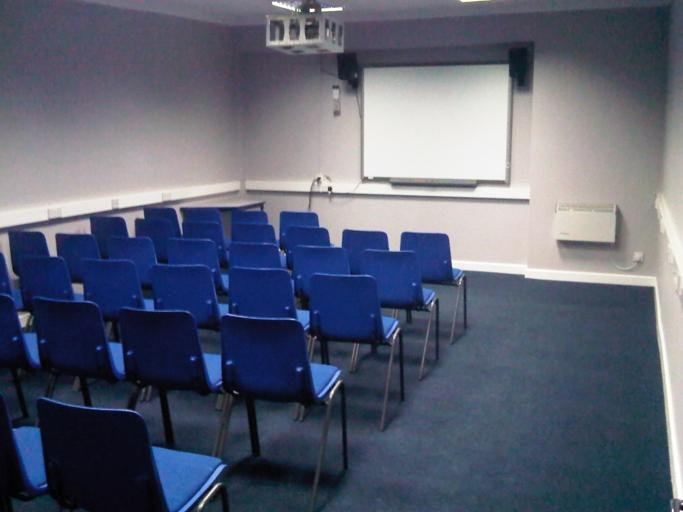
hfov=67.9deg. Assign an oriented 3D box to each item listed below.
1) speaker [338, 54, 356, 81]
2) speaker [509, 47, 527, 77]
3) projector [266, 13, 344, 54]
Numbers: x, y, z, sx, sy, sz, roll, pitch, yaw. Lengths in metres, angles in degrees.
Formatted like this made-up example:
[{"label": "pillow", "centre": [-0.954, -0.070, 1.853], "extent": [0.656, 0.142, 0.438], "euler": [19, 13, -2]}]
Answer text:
[{"label": "speaker", "centre": [0.088, -2.960, 7.886], "extent": [0.310, 0.384, 0.131], "euler": [-1, 12, -2]}, {"label": "speaker", "centre": [2.455, -2.684, 7.029], "extent": [0.291, 0.408, 0.108], "euler": [-4, 13, -16]}, {"label": "projector", "centre": [-0.432, -2.648, 5.968], "extent": [0.833, 0.404, 0.555], "euler": [1, 13, 2]}]
